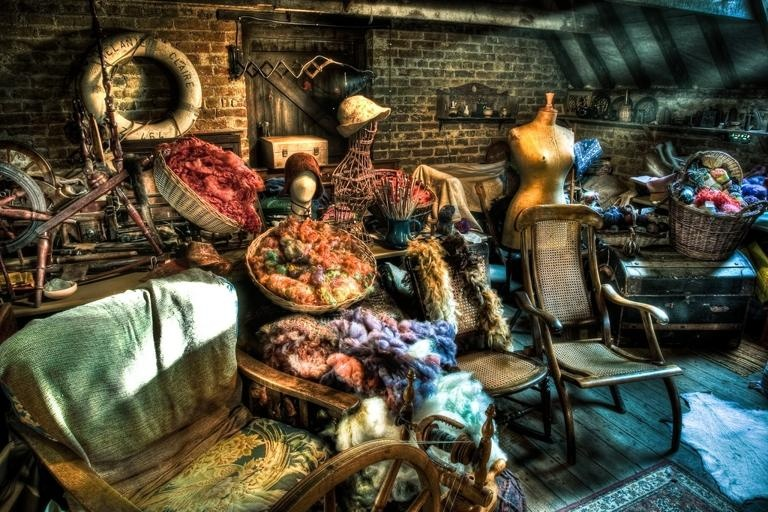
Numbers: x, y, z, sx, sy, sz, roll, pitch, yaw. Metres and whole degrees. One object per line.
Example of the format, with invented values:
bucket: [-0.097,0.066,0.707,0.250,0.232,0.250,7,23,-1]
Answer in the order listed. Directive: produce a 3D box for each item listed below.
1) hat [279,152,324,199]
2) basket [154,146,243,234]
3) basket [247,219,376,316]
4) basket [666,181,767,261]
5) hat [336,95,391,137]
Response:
hat: [-0.540,-0.553,3.564,0.273,0.283,0.298,-7,6,-21]
basket: [-0.977,-0.334,2.723,0.372,0.469,0.181,-11,12,-6]
basket: [-0.402,0.084,2.947,0.636,0.214,0.602,-16,50,-38]
basket: [2.500,-0.238,4.138,0.653,0.446,0.620,-7,31,-41]
hat: [-0.143,-0.959,3.574,0.341,0.265,0.216,-10,11,-2]
